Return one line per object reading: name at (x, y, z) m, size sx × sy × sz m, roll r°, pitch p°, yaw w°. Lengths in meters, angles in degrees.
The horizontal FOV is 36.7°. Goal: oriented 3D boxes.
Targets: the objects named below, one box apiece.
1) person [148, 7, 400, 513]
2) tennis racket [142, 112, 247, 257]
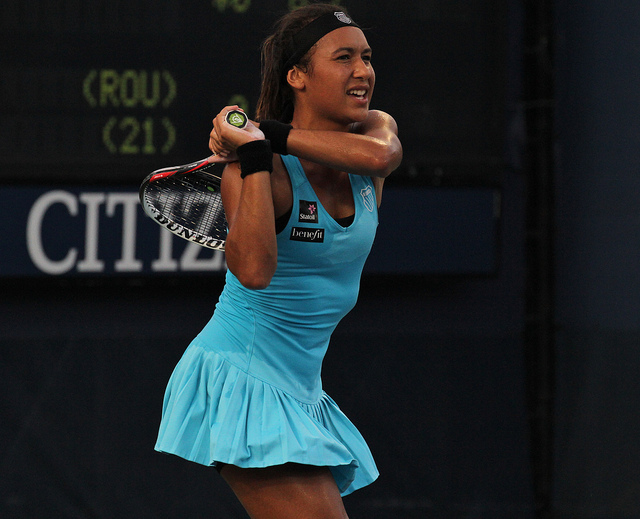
person at (-0.147, -0.024, 3.721) m, size 0.890 × 1.883 × 0.574 m, roll 0°, pitch 3°, yaw 4°
tennis racket at (-0.421, -0.288, 3.792) m, size 0.468 × 0.115 × 0.745 m, roll 7°, pitch -38°, yaw -19°
